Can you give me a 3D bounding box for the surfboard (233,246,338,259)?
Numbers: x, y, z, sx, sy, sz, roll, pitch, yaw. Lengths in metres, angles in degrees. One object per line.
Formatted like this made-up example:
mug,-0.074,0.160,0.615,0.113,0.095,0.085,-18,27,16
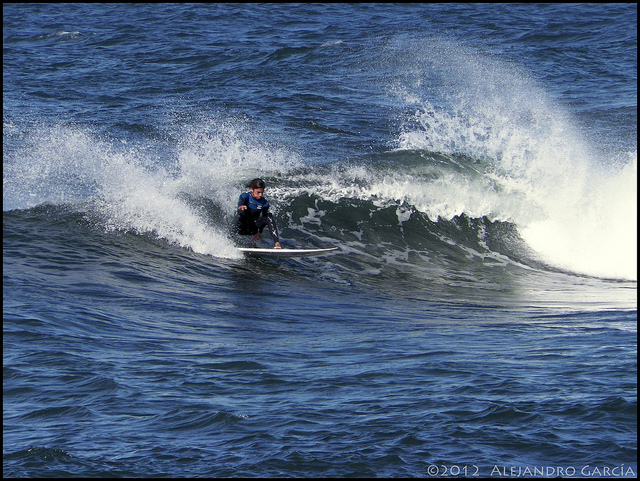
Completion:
surfboard,-0.772,0.252,19.471,2.360,0.247,0.186,1,84,-3
